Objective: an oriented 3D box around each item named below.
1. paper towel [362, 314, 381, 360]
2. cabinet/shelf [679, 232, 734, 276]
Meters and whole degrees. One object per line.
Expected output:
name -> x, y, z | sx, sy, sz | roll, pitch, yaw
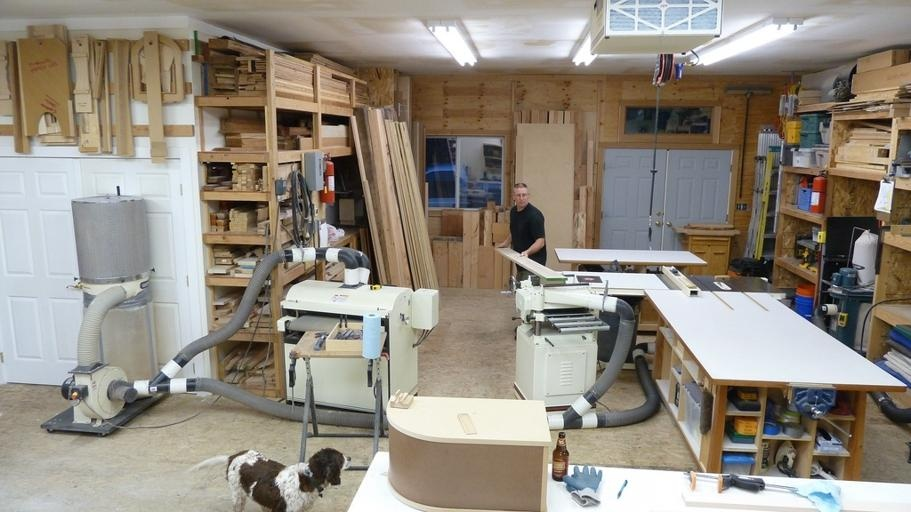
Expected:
paper towel -> -1.030, 0.995, 7.719 | 0.235, 0.605, 0.246 | -2, 10, -8
cabinet/shelf -> 5.134, 0.098, 12.980 | 1.039, 1.168, 0.753 | 8, -13, 8
